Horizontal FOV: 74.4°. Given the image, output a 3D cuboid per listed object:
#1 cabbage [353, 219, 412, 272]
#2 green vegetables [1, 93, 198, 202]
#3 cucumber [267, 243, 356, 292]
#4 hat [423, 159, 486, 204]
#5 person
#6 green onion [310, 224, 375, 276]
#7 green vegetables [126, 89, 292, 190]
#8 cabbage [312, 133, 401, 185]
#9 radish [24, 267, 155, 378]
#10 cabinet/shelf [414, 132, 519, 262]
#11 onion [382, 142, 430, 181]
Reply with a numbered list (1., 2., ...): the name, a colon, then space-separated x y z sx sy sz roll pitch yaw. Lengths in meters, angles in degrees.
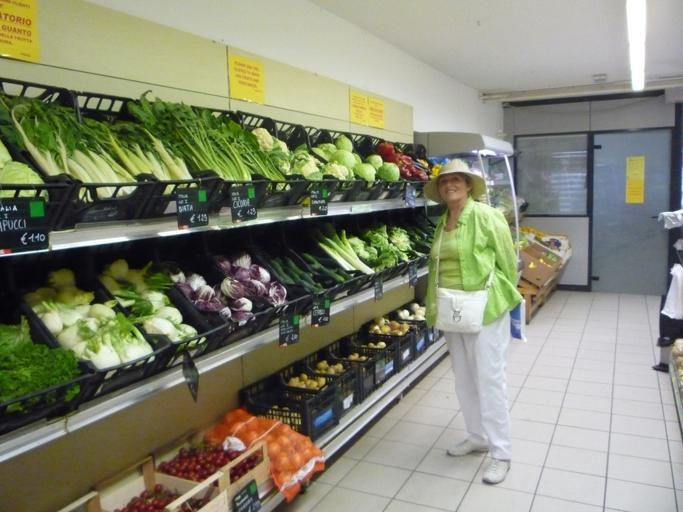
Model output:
1. cabbage: 0.292 -0.076 3.381 0.383 0.199 0.362 -8 20 -38
2. green vegetables: -0.847 -0.480 1.677 0.516 0.172 0.518 48 17 30
3. cucumber: -0.206 0.062 2.638 0.238 0.096 0.414 32 13 17
4. hat: 0.799 -0.538 3.208 0.324 0.356 0.413 -7 18 -44
5. person: 0.941 0.397 3.273 0.709 2.052 0.780 1 3 27
6. green onion: 0.005 -0.058 3.079 0.276 0.301 0.381 5 12 27
7. green vegetables: -0.752 -0.509 2.315 0.538 0.489 0.877 6 13 40
8. cabbage: 0.036 -0.638 3.346 0.709 0.459 0.531 -1 12 -32
9. radish: -0.978 0.243 1.694 0.499 0.122 0.245 41 28 15
10. cabinet/shelf: 1.257 -0.703 5.201 0.592 1.351 1.362 6 11 29
11. onion: 0.519 -0.769 3.728 0.433 0.146 0.304 45 24 24
